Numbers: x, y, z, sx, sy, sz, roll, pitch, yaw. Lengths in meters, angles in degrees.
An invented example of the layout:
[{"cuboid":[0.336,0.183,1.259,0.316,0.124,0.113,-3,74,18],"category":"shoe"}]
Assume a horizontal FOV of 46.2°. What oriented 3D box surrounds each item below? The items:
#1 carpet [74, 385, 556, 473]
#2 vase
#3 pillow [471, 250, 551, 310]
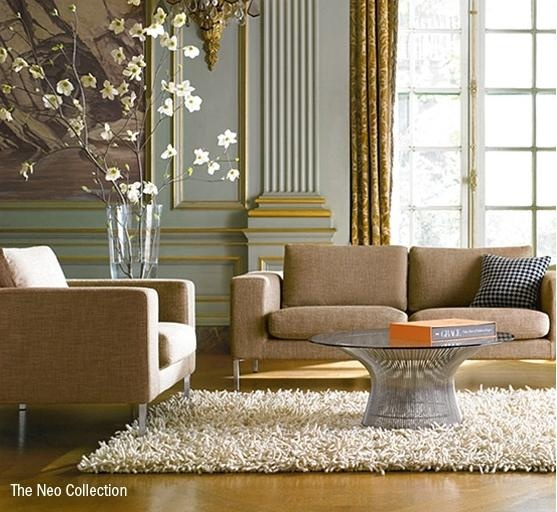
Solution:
[{"cuboid":[0.227,0.737,2.775,1.920,0.125,0.923,-2,-1,2],"category":"carpet"},{"cuboid":[-0.786,-0.029,3.664,0.275,0.402,0.264,4,-19,-19],"category":"vase"},{"cuboid":[1.385,0.155,3.895,0.439,0.344,0.332,-2,-1,25],"category":"pillow"}]
